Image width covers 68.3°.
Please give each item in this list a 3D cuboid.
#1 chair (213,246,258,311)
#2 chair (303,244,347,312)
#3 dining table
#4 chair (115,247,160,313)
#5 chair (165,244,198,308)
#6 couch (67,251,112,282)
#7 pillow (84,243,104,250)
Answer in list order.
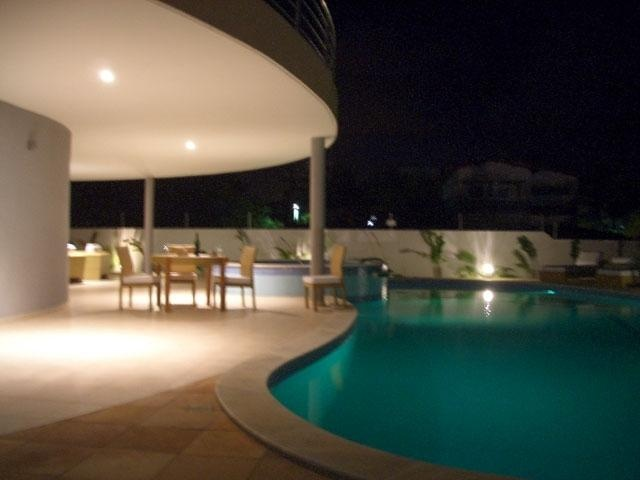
[{"bbox_3d":[-1.464,0.617,8.132,0.780,1.086,0.859,2,0,0],"label":"chair"},{"bbox_3d":[0.071,0.607,7.983,0.662,1.105,0.754,1,-1,-5],"label":"chair"},{"bbox_3d":[-2.191,0.408,7.857,1.403,1.153,1.140,0,4,-17],"label":"dining table"},{"bbox_3d":[-2.992,0.589,7.867,0.700,1.049,0.714,0,2,11],"label":"chair"},{"bbox_3d":[-2.568,0.607,8.753,0.546,1.094,0.661,0,-1,-17],"label":"chair"},{"bbox_3d":[-6.018,0.622,12.276,1.100,0.723,1.095,1,-1,-21],"label":"couch"},{"bbox_3d":[-6.083,0.158,12.711,0.371,0.182,0.341,0,6,-30],"label":"pillow"}]
